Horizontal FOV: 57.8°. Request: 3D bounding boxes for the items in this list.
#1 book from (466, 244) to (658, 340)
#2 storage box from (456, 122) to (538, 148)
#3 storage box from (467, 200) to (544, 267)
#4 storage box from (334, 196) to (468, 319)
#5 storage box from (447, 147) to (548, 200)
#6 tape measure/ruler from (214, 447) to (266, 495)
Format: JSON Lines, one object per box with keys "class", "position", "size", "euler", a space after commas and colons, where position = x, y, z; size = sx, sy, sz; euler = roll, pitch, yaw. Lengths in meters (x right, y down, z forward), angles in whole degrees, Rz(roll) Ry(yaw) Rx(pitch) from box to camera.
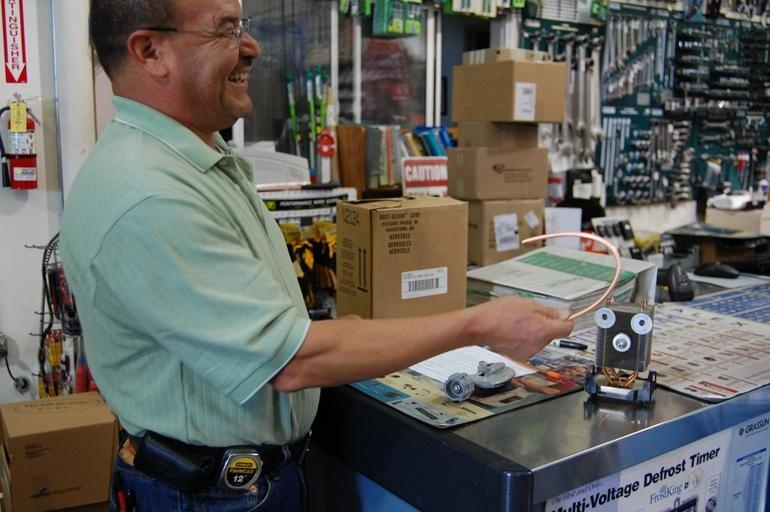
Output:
{"class": "book", "position": [0.699, 0.090, 2.819], "size": [0.610, 0.302, 0.763], "euler": [-3, 13, -39]}
{"class": "storage box", "position": [0.520, -0.574, 3.270], "size": [0.343, 0.129, 0.224], "euler": [-5, 14, -21]}
{"class": "storage box", "position": [0.533, -0.112, 3.357], "size": [0.438, 0.293, 0.394], "euler": [-3, 4, -36]}
{"class": "storage box", "position": [0.072, 0.009, 2.726], "size": [0.419, 0.495, 0.412], "euler": [-3, 4, -45]}
{"class": "storage box", "position": [0.525, -0.373, 3.221], "size": [0.389, 0.276, 0.229], "euler": [-4, 14, -26]}
{"class": "tape measure/ruler", "position": [-0.420, 0.603, 1.977], "size": [0.129, 0.126, 0.043], "euler": [4, 13, -27]}
